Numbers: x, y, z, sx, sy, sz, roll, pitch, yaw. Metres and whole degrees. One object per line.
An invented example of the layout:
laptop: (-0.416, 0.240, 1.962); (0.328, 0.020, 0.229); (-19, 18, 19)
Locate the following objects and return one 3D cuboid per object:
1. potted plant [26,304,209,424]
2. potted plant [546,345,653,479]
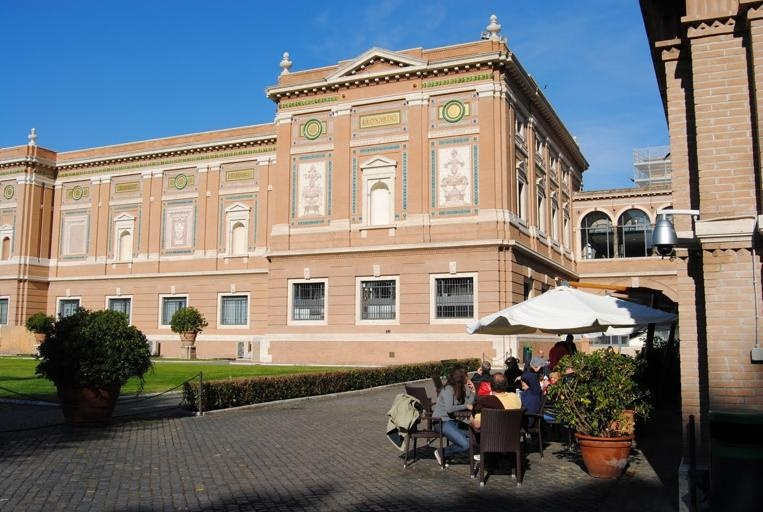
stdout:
potted plant: (-6.851, 2.752, 16.871); (2.819, 2.763, 2.729); (-11, -19, 32)
potted plant: (4.204, 2.943, 13.083); (1.546, 2.286, 2.051); (-5, -8, 18)
